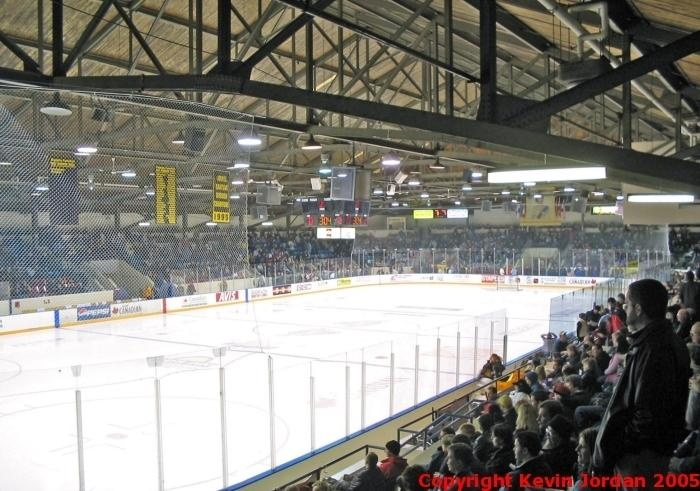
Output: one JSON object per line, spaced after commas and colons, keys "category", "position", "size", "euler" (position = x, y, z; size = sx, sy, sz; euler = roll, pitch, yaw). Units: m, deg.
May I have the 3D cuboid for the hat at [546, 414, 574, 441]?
{"category": "hat", "position": [2.915, 2.465, 9.705], "size": [0.280, 0.366, 0.285], "euler": [6, -45, -35]}

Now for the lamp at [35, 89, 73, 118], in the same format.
{"category": "lamp", "position": [-4.072, -1.907, 9.654], "size": [0.367, 0.363, 0.353], "euler": [6, -12, -32]}
